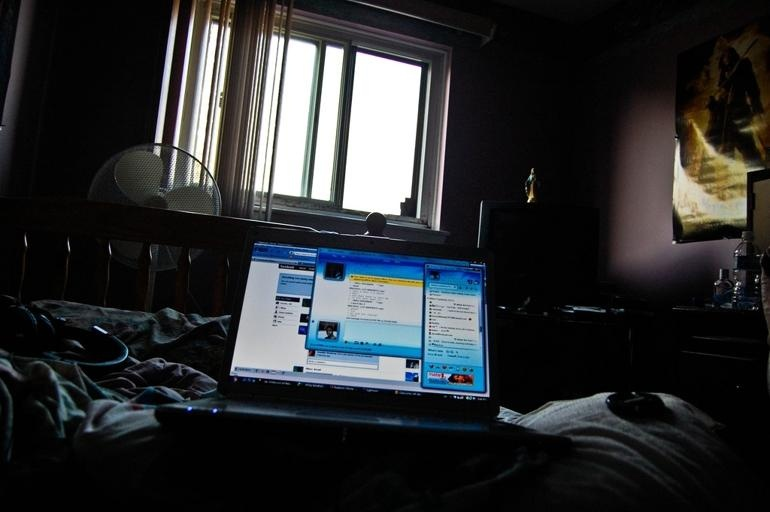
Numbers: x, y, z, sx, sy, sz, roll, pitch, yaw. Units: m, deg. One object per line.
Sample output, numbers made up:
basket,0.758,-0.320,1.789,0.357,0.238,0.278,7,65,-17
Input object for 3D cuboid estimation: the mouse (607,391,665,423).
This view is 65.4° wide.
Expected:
mouse,0.682,0.407,1.639,0.088,0.028,0.087,-2,4,-10
